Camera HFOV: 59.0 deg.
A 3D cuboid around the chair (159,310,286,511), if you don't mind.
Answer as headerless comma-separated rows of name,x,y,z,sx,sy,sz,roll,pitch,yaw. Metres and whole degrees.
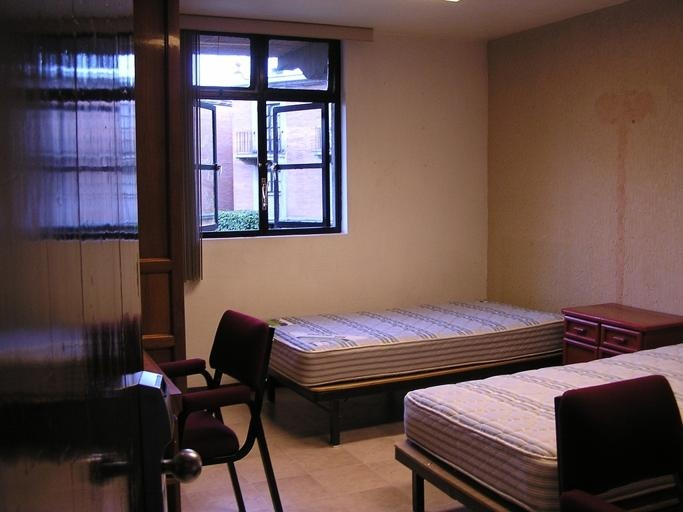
chair,-0.469,0.631,2.294,0.440,0.761,0.425,-8,8,-36
